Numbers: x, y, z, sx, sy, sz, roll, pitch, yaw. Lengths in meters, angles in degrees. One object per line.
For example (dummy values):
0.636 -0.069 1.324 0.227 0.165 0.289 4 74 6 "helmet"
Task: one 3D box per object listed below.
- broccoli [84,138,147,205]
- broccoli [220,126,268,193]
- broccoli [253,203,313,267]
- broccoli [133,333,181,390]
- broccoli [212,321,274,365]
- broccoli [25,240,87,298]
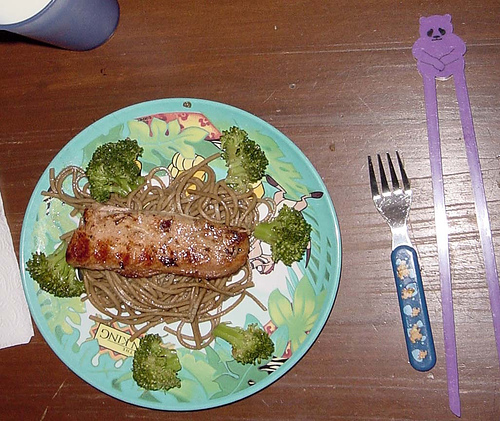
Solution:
-0.593 -0.168 2.390 0.243 0.210 0.307 -6 87 6 "broccoli"
-0.034 -0.242 2.316 0.186 0.106 0.272 20 107 8 "broccoli"
0.126 0.083 2.402 0.277 0.288 0.254 -5 102 -27 "broccoli"
-0.401 0.657 2.300 0.200 0.071 0.223 1 83 -1 "broccoli"
-0.022 0.570 2.330 0.204 0.077 0.159 28 79 32 "broccoli"
-0.870 0.286 2.365 0.207 0.072 0.302 -30 85 -4 "broccoli"
